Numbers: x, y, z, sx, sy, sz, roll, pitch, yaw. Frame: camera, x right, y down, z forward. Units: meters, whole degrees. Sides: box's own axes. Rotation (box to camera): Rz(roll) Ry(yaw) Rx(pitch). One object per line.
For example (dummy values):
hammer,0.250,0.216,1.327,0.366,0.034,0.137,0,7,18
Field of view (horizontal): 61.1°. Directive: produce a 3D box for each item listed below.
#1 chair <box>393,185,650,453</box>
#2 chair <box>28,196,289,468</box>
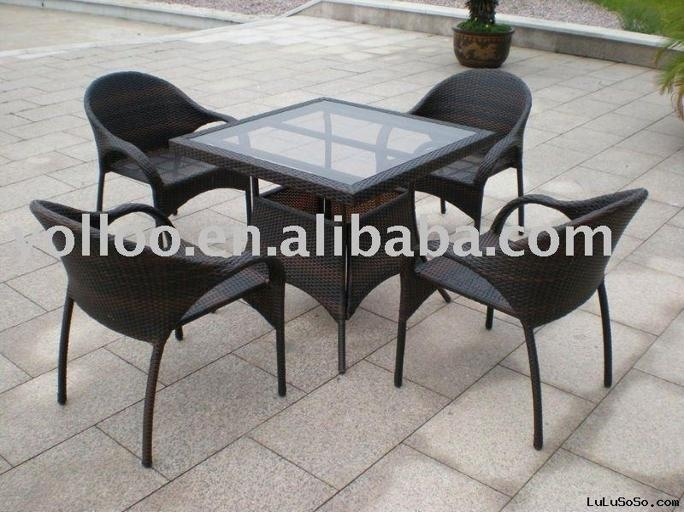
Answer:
chair,0.769,0.140,2.502,0.721,0.752,0.811,-28,31,-34
chair,-0.774,0.133,2.454,0.996,0.746,0.796,-3,32,-27
